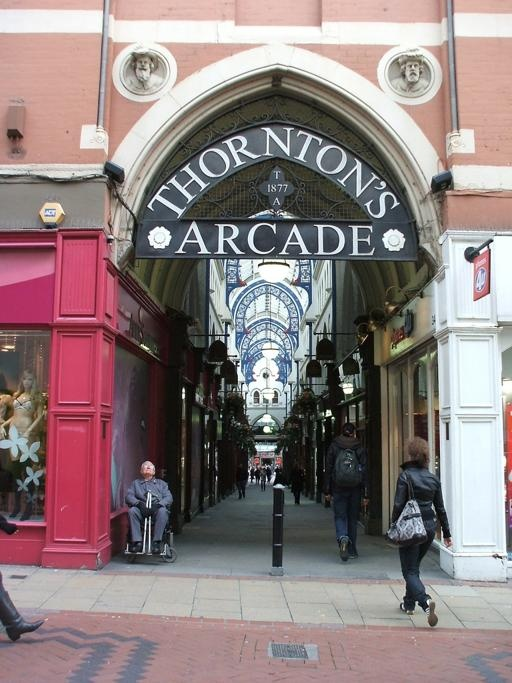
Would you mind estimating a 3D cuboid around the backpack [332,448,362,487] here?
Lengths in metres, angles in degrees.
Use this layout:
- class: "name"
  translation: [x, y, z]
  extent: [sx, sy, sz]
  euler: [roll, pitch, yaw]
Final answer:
- class: "backpack"
  translation: [1.392, 1.899, 10.106]
  extent: [0.422, 0.566, 0.368]
  euler: [2, -10, 2]

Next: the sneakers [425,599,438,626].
- class: "sneakers"
  translation: [1.507, 2.344, 5.827]
  extent: [0.096, 0.254, 0.427]
  euler: [0, -11, 15]

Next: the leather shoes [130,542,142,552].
- class: "leather shoes"
  translation: [-1.566, 2.694, 8.833]
  extent: [0.104, 0.128, 0.142]
  euler: [4, -39, -7]

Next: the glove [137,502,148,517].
- class: "glove"
  translation: [-1.500, 2.238, 9.005]
  extent: [0.127, 0.168, 0.145]
  euler: [-4, -10, -10]

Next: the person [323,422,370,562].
- class: "person"
  translation: [1.330, 2.256, 10.194]
  extent: [0.585, 1.975, 1.049]
  euler: [-3, -11, 22]

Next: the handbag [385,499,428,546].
- class: "handbag"
  translation: [1.366, 1.644, 6.128]
  extent: [0.348, 0.407, 0.241]
  euler: [0, -11, 14]

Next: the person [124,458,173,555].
- class: "person"
  translation: [-1.446, 2.244, 9.095]
  extent: [0.600, 1.216, 0.459]
  euler: [4, -10, -9]

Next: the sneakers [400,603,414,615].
- class: "sneakers"
  translation: [1.432, 2.547, 6.442]
  extent: [0.053, 0.069, 0.158]
  euler: [1, 0, 1]

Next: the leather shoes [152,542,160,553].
- class: "leather shoes"
  translation: [-1.308, 2.729, 8.931]
  extent: [0.062, 0.130, 0.184]
  euler: [1, -2, 0]

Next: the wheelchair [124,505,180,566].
- class: "wheelchair"
  translation: [-1.445, 2.730, 9.179]
  extent: [0.694, 0.613, 0.496]
  euler: [8, -26, -35]
